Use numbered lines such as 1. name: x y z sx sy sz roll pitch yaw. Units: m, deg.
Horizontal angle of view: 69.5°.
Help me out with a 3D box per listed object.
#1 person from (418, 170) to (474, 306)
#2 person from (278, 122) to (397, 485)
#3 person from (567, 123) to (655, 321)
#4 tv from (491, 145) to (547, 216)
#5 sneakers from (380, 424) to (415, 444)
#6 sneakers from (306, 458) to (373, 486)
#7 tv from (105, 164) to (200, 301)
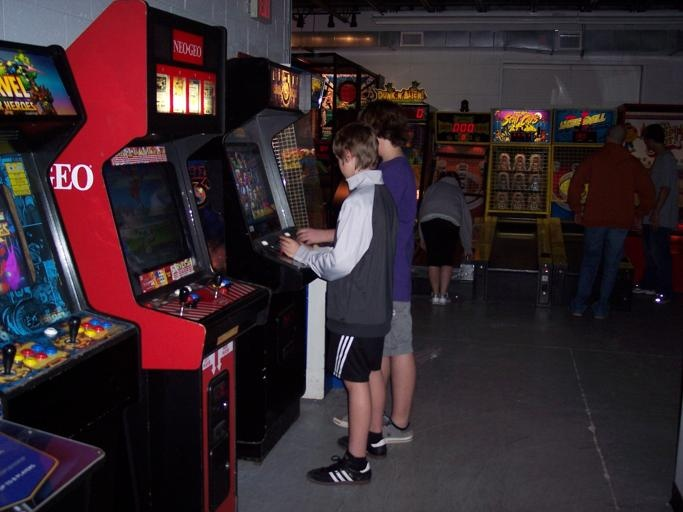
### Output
1. person: 1.258 -0.187 5.946 0.637 1.527 0.407 -7 13 -34
2. person: 0.021 0.273 2.594 0.502 1.901 0.453 3 11 14
3. person: 2.995 -0.385 5.564 0.823 2.114 0.546 3 11 13
4. tv: 2.828 -1.156 7.753 1.038 1.386 0.671 1 0 16
5. sneakers: 0.339 1.099 3.044 0.214 0.097 0.082 3 4 -4
6. sneakers: -0.007 1.170 2.706 0.376 0.157 0.138 2 3 0
7. tv: -0.806 -0.090 2.049 0.028 0.620 0.501 -11 6 24
